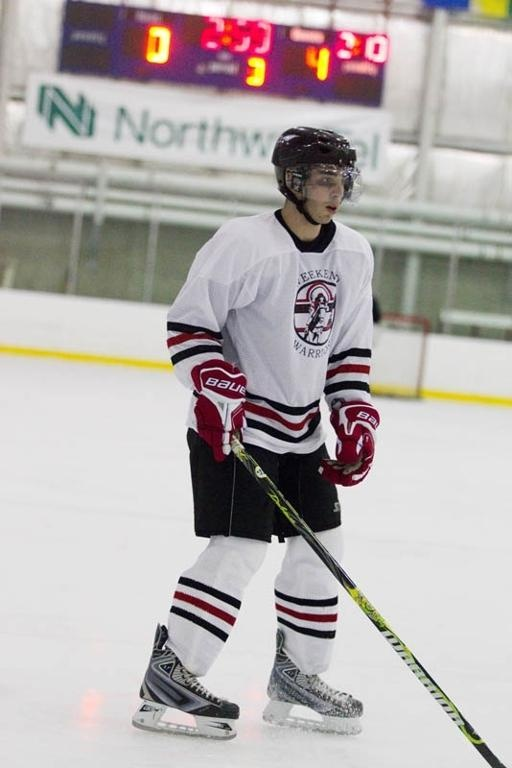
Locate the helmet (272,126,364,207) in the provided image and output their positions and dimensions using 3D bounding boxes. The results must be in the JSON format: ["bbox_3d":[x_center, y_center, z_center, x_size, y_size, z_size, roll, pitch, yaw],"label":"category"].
[{"bbox_3d":[0.084,-0.399,1.678,0.176,0.141,0.137,14,10,10],"label":"helmet"}]

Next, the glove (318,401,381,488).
[{"bbox_3d":[0.182,0.114,1.721,0.128,0.148,0.078,10,-14,10],"label":"glove"}]

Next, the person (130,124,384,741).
[{"bbox_3d":[0.044,0.074,1.643,0.455,1.086,0.377,7,9,-11],"label":"person"}]
